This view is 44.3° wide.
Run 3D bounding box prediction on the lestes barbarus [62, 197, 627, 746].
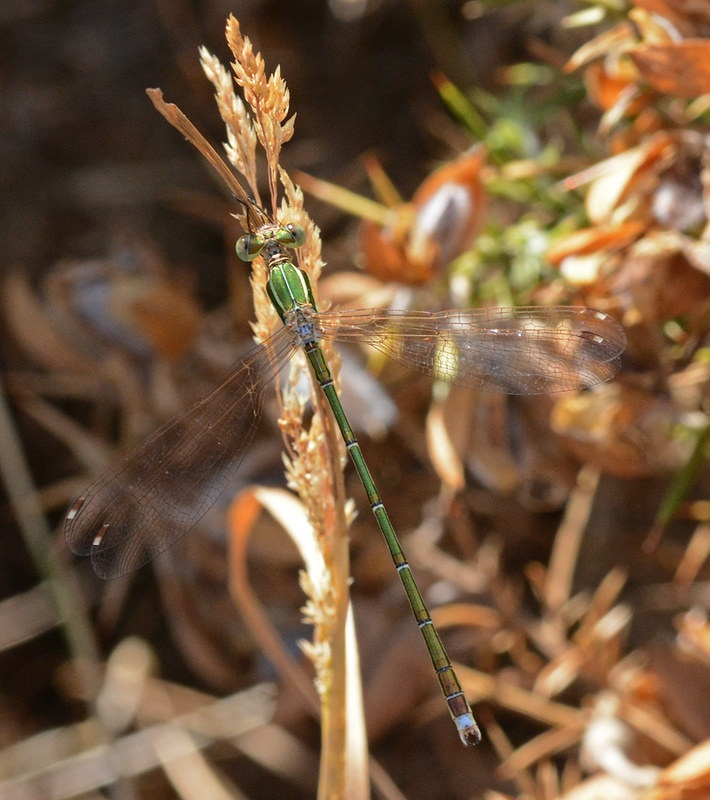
[{"bbox_3d":[0.019,0.060,0.846,0.519,0.421,0.136,-25,-14,6],"label":"lestes barbarus"}]
